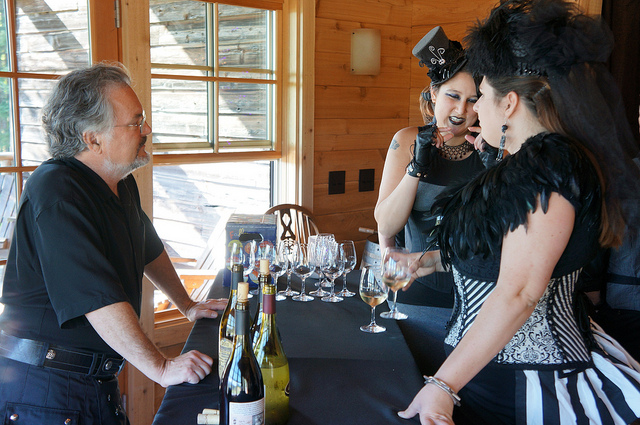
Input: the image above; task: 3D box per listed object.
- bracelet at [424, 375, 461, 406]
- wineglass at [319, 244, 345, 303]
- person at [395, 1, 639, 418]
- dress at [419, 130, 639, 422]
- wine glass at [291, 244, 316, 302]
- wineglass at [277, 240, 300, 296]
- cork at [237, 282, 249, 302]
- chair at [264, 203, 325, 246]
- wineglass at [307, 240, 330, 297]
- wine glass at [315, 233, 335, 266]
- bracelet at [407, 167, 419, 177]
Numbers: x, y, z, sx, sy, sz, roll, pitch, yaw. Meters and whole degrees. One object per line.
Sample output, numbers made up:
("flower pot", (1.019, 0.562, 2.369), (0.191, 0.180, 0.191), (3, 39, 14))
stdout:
("bracelet", (0.373, 0.537, 1.503), (0.083, 0.092, 0.033), (-47, -16, 27))
("wineglass", (0.053, 0.276, 2.300), (0.113, 0.275, 0.199), (0, 8, 1))
("person", (0.693, 0.022, 1.608), (0.820, 1.421, 0.438), (0, 8, 2))
("dress", (0.744, 0.185, 2.080), (0.916, 1.080, 0.942), (4, 5, 24))
("wine glass", (-0.085, 0.275, 2.312), (0.104, 0.263, 0.166), (-2, 8, -12))
("wineglass", (-0.157, 0.254, 2.405), (0.102, 0.262, 0.334), (-1, 8, -5))
("cork", (-0.212, 0.219, 1.341), (0.028, 0.048, 0.037), (-1, 8, -9))
("chair", (-0.213, 0.092, 3.579), (0.318, 0.399, 0.298), (-1, -2, -20))
("wineglass", (-0.004, 0.257, 2.288), (0.113, 0.244, 0.102), (7, 13, 27))
("wine glass", (0.012, 0.161, 2.301), (0.111, 0.168, 0.104), (1, -10, 0))
("bracelet", (0.429, -0.180, 2.301), (0.050, 0.043, 0.023), (3, 8, 23))
